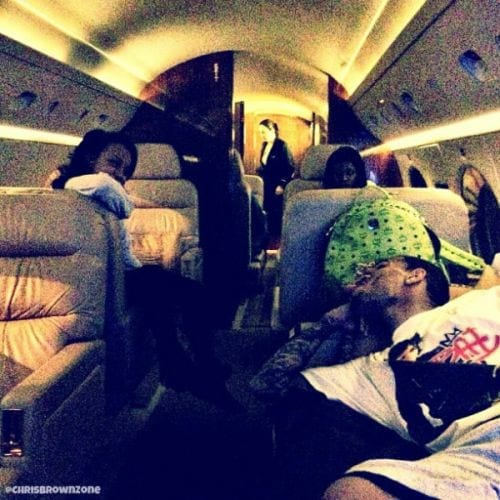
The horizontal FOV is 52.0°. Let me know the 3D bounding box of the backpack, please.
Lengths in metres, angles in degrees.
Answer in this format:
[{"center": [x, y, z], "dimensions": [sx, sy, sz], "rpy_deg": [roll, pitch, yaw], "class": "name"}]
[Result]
[{"center": [0.611, 0.009, 2.122], "dimensions": [0.553, 0.365, 0.401], "rpy_deg": [11, -17, 11], "class": "backpack"}]
